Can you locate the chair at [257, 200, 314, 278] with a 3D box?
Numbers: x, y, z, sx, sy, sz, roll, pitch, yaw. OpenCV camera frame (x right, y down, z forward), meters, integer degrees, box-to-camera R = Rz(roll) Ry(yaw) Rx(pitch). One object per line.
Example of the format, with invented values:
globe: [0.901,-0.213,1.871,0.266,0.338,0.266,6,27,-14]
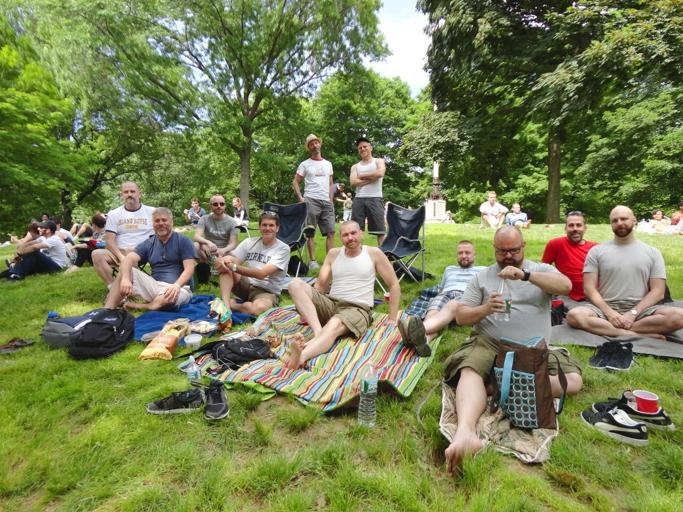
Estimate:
chair: [-0.990,-0.478,9.545,1.199,1.432,1.145,-2,-15,-4]

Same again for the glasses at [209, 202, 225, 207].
glasses: [-2.158,-0.911,9.168,0.160,0.058,0.171,-1,4,-11]

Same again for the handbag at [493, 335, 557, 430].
handbag: [1.998,1.400,5.681,0.910,1.062,0.597,1,1,27]

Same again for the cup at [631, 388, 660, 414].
cup: [3.340,1.558,5.729,0.218,0.183,0.240,-2,-1,1]

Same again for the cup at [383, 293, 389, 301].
cup: [0.725,0.641,8.344,0.112,0.076,0.187,0,7,7]

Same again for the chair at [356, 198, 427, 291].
chair: [0.894,-0.202,9.544,1.190,1.509,1.238,-4,12,-19]

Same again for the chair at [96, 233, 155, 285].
chair: [-3.413,-0.018,8.442,0.283,0.803,0.436,-11,13,-41]

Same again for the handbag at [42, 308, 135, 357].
handbag: [-3.298,1.012,6.935,0.896,0.348,0.684,1,19,-33]

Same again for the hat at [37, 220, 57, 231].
hat: [-6.288,-0.659,11.178,0.288,0.164,0.212,19,5,-17]
